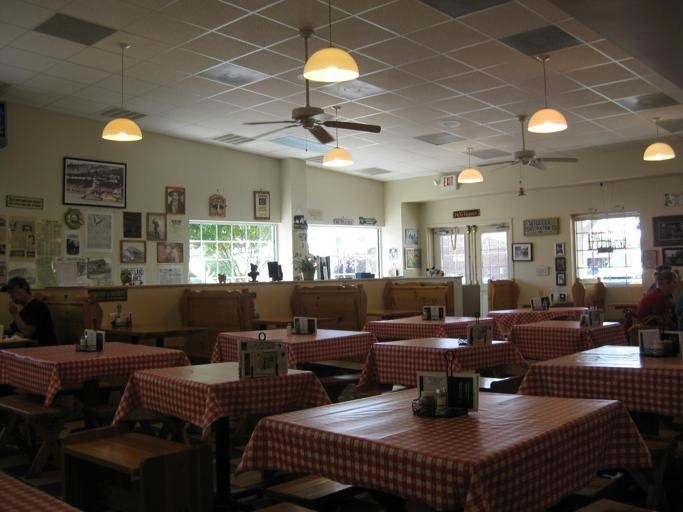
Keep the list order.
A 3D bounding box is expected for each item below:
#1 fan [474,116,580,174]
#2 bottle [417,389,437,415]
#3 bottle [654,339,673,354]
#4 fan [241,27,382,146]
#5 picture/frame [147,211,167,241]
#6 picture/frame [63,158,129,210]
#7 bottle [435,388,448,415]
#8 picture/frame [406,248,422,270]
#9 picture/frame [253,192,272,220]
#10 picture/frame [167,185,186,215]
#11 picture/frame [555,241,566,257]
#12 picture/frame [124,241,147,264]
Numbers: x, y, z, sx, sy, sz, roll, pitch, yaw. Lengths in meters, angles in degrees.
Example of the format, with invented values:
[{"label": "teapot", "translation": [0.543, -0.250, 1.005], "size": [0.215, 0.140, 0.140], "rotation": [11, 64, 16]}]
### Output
[{"label": "fan", "translation": [3.482, -1.728, 9.546], "size": [1.532, 0.953, 1.529], "rotation": [-3, 6, -21]}, {"label": "bottle", "translation": [0.409, 0.698, 2.515], "size": [0.083, 0.093, 0.088], "rotation": [-1, -1, 12]}, {"label": "bottle", "translation": [2.266, 0.651, 3.755], "size": [0.133, 0.103, 0.079], "rotation": [-1, -1, 20]}, {"label": "fan", "translation": [-0.349, -1.742, 5.341], "size": [1.271, 0.945, 1.315], "rotation": [1, 9, 16]}, {"label": "picture/frame", "translation": [-3.755, -0.603, 10.826], "size": [0.049, 0.708, 0.615], "rotation": [-4, -3, 36]}, {"label": "picture/frame", "translation": [-4.611, -1.328, 9.913], "size": [0.043, 0.797, 1.056], "rotation": [4, 3, 39]}, {"label": "bottle", "translation": [0.473, 0.680, 2.512], "size": [0.053, 0.098, 0.058], "rotation": [-1, -1, 0]}, {"label": "picture/frame", "translation": [2.147, 0.103, 15.902], "size": [0.127, 0.633, 0.785], "rotation": [-1, -1, 35]}, {"label": "picture/frame", "translation": [-1.899, -1.171, 12.706], "size": [0.106, 0.774, 0.658], "rotation": [-4, -5, 36]}, {"label": "picture/frame", "translation": [-3.461, -1.154, 11.150], "size": [0.052, 0.751, 0.648], "rotation": [-2, -1, 37]}, {"label": "picture/frame", "translation": [5.526, -0.159, 13.456], "size": [0.051, 0.522, 0.377], "rotation": [5, -4, -36]}, {"label": "picture/frame", "translation": [-4.058, -0.058, 10.471], "size": [0.030, 0.452, 0.455], "rotation": [-5, -4, 43]}]
